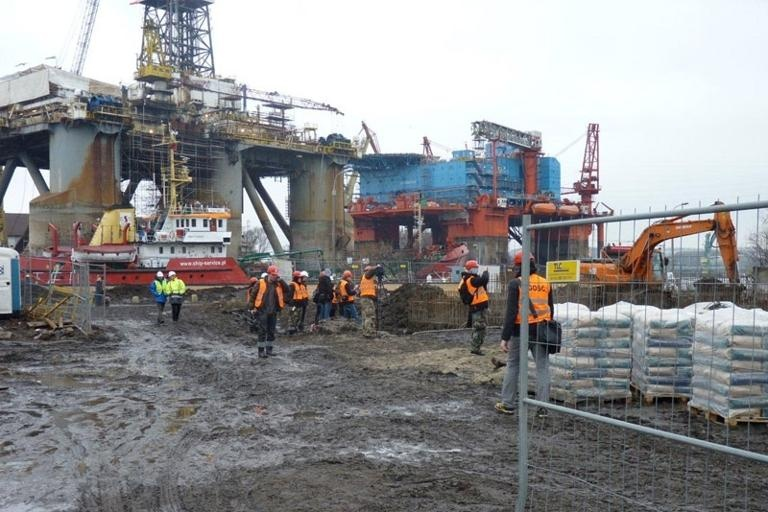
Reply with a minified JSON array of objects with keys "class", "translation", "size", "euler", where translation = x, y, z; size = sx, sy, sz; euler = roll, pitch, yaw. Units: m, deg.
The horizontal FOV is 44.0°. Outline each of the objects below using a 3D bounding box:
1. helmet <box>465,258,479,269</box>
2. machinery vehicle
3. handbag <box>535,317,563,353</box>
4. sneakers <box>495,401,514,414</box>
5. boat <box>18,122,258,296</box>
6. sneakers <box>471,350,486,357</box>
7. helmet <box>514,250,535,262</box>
[{"class":"helmet","translation":[3.092,0.248,33.547],"size":[0.547,0.277,0.383],"euler":[-16,26,-37]},{"class":"machinery vehicle","translation":[4.796,-0.119,16.654],"size":[2.889,1.488,0.861],"euler":[2,-1,36]},{"class":"handbag","translation":[3.203,1.550,17.987],"size":[0.527,0.875,0.914],"euler":[0,4,0]},{"class":"sneakers","translation":[2.476,3.108,19.292],"size":[0.168,0.167,0.361],"euler":[-3,13,-30]},{"class":"boat","translation":[-12.752,-2.255,49.325],"size":[11.752,8.365,3.899],"euler":[-2,11,-6]},{"class":"sneakers","translation":[2.347,2.436,23.551],"size":[0.354,0.148,0.116],"euler":[-3,5,-25]},{"class":"helmet","translation":[2.722,-0.006,18.454],"size":[0.344,0.190,0.234],"euler":[-5,6,1]}]
